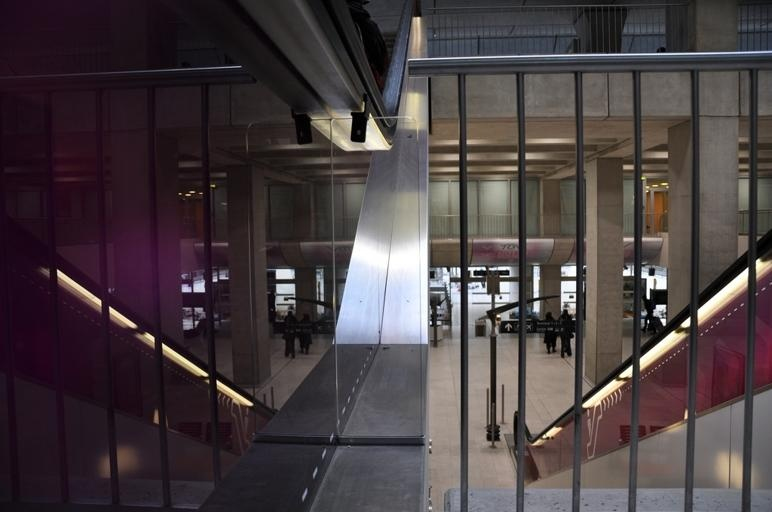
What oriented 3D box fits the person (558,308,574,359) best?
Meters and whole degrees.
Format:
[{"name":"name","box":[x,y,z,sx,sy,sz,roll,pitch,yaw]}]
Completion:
[{"name":"person","box":[4.164,1.832,19.136,0.366,1.000,1.075,7,-2,13]}]

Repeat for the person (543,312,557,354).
[{"name":"person","box":[3.794,1.811,19.175,0.309,0.876,0.447,7,-1,11]}]

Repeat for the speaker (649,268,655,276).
[{"name":"speaker","box":[7.497,0.452,23.265,0.181,0.237,0.129,-3,-8,35]}]

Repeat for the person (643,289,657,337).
[{"name":"person","box":[6.820,1.548,21.403,0.359,0.855,2.118,7,-2,17]}]
